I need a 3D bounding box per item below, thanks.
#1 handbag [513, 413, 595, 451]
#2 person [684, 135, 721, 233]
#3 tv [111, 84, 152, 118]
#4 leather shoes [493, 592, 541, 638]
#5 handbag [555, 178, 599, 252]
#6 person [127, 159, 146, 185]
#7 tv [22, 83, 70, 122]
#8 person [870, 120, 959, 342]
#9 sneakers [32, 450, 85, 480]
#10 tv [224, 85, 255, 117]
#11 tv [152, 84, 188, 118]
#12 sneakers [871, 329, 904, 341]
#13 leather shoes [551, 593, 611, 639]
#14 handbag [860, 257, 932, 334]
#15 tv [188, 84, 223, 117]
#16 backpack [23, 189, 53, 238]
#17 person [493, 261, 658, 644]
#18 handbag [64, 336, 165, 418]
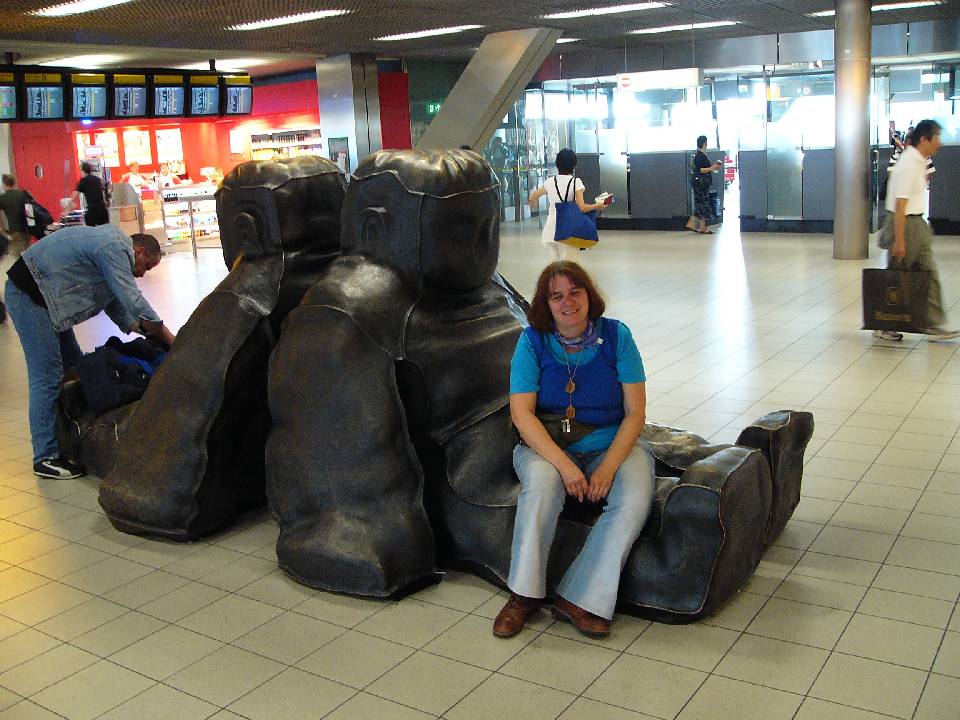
[{"bbox_3d":[0.375,0.287,3.100,0.152,0.075,0.195,-16,27,-42],"label":"handbag"},{"bbox_3d":[4.707,-3.697,15.169,0.623,1.964,1.493,0,14,18],"label":"person"},{"bbox_3d":[-5.967,-4.482,12.415,0.645,0.591,0.048,-5,11,-36],"label":"tv"},{"bbox_3d":[0.147,1.027,2.929,0.090,0.108,0.256,10,7,27],"label":"leather shoes"},{"bbox_3d":[1.048,-1.599,7.867,0.566,0.737,0.322,-1,1,-40],"label":"handbag"},{"bbox_3d":[-9.555,-5.316,20.242,0.404,0.743,2.427,-10,14,-23],"label":"person"},{"bbox_3d":[-6.909,-4.122,11.527,0.264,0.502,0.623,1,14,22],"label":"tv"},{"bbox_3d":[3.911,-1.135,6.404,0.606,1.917,0.538,-4,14,2],"label":"person"},{"bbox_3d":[-2.703,0.703,4.724,0.354,0.154,0.143,-1,2,0],"label":"sneakers"},{"bbox_3d":[-4.463,-4.842,13.447,0.578,0.484,0.226,-16,18,-41],"label":"tv"},{"bbox_3d":[-5.421,-4.596,12.705,0.567,0.505,0.286,-9,16,-43],"label":"tv"},{"bbox_3d":[3.765,-0.222,6.677,0.091,0.099,0.260,-4,4,-17],"label":"sneakers"},{"bbox_3d":[0.412,1.019,2.894,0.245,0.142,0.107,3,7,25],"label":"leather shoes"},{"bbox_3d":[3.726,-0.555,6.436,0.679,0.761,0.187,8,27,31],"label":"handbag"},{"bbox_3d":[-4.902,-4.707,12.997,0.308,0.532,0.588,13,17,39],"label":"tv"},{"bbox_3d":[-7.027,-2.320,11.539,0.405,0.708,0.524,-11,34,-38],"label":"backpack"},{"bbox_3d":[0.407,0.332,2.960,0.587,1.410,0.658,-2,14,11],"label":"person"},{"bbox_3d":[-2.316,0.063,4.668,0.246,0.520,0.632,-11,18,23],"label":"handbag"}]
